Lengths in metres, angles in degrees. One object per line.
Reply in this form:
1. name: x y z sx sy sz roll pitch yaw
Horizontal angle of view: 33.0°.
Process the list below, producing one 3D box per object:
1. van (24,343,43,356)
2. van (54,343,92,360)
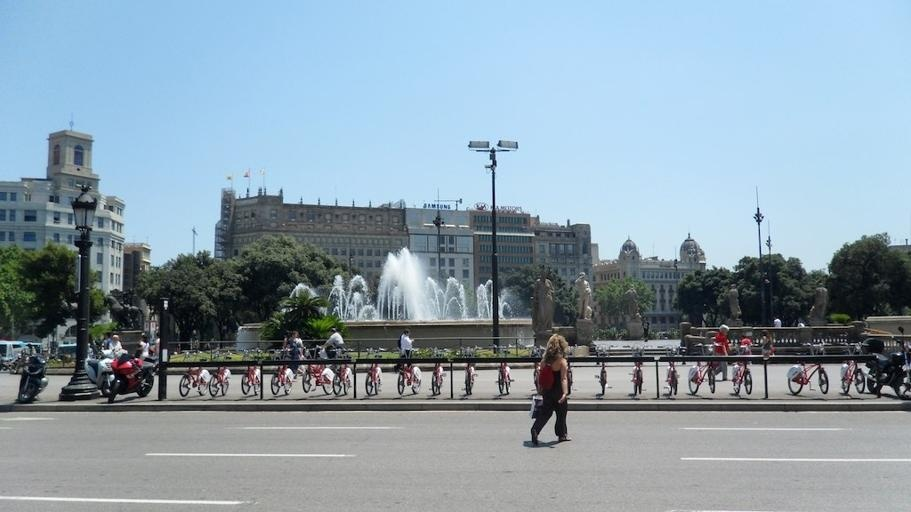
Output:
1. van: -47.446 10.476 172.764 1.847 1.364 2.608 1 -13 -17
2. van: -44.533 10.931 177.605 3.752 1.463 3.634 5 -9 -38
